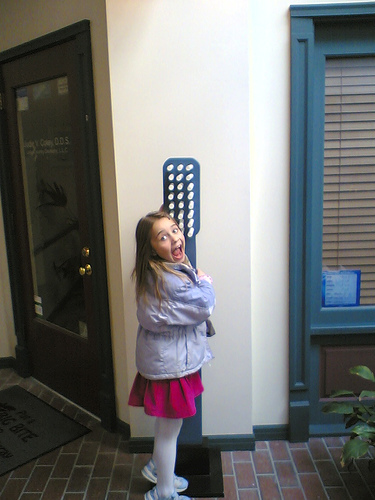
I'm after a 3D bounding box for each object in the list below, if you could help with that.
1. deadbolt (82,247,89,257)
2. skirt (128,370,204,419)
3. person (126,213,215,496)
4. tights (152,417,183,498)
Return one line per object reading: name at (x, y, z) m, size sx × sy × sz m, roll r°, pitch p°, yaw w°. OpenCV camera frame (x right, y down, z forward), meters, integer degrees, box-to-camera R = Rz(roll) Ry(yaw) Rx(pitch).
deadbolt at (-0.550, 0.009, 2.410) m, size 0.038 × 0.053 × 0.011 m, roll 0°, pitch 1°, yaw 31°
skirt at (-0.101, 0.562, 1.733) m, size 0.302 × 0.192 × 0.154 m, roll 1°, pitch 9°, yaw 15°
person at (-0.067, 0.460, 1.789) m, size 0.343 × 1.225 × 0.363 m, roll -2°, pitch 7°, yaw -10°
tights at (-0.075, 0.809, 1.763) m, size 0.103 × 0.339 × 0.084 m, roll -1°, pitch 7°, yaw 0°
